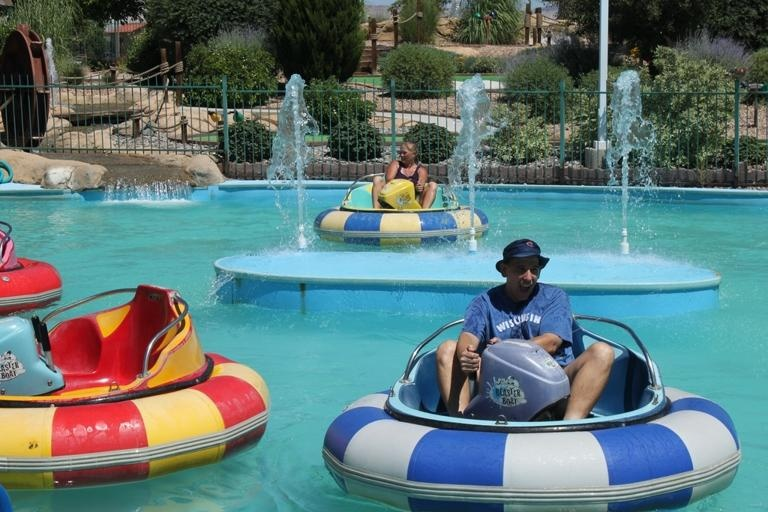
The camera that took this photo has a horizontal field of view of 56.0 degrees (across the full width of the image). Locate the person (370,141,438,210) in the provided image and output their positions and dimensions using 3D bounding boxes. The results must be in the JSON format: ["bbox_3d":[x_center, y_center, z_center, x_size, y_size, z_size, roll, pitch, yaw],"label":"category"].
[{"bbox_3d":[0.377,-1.213,11.187,1.057,1.373,0.951,3,-3,5],"label":"person"}]

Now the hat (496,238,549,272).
[{"bbox_3d":[0.918,-0.032,4.761,0.339,0.162,0.364,4,-19,-29],"label":"hat"}]

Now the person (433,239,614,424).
[{"bbox_3d":[0.870,0.525,4.694,1.063,1.330,0.974,-1,-2,4],"label":"person"}]
